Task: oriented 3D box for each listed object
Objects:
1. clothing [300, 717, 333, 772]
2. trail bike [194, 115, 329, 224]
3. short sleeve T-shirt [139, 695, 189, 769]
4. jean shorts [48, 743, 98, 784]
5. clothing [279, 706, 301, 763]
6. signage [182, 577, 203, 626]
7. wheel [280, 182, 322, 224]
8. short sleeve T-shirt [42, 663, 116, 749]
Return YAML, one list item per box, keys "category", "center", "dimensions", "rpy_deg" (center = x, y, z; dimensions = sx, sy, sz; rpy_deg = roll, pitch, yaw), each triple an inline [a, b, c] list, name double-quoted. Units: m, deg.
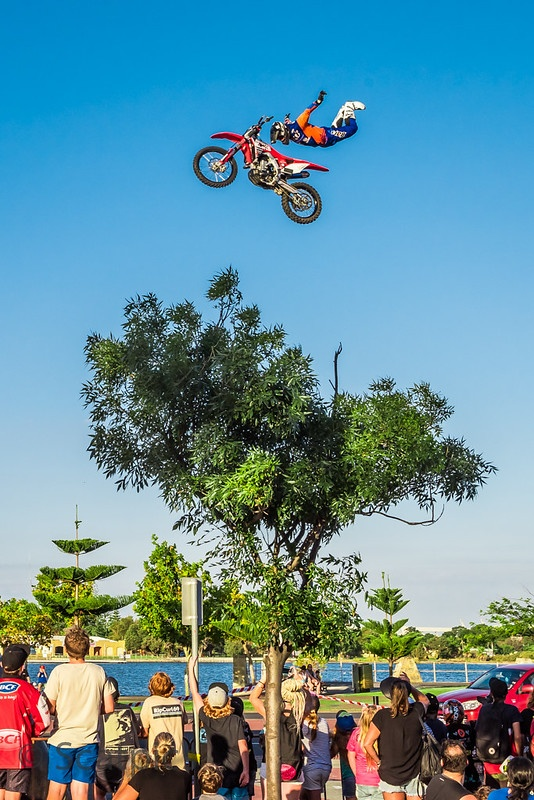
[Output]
- category: "clothing"
  center: [0.443, 3.405, 11.333]
  dimensions: [0.378, 0.516, 0.283]
  rpy_deg: [9, -25, -33]
- category: "trail bike"
  center: [-0.028, -4.473, 21.929]
  dimensions: [2.764, 1.639, 1.019]
  rpy_deg: [17, -10, -26]
- category: "short sleeve T-shirt"
  center: [-0.904, 2.999, 10.353]
  dimensions: [0.436, 0.673, 0.249]
  rpy_deg: [-4, 12, -12]
- category: "jean shorts"
  center: [-1.643, 3.132, 9.895]
  dimensions: [0.563, 0.463, 0.306]
  rpy_deg: [4, -18, -7]
- category: "clothing"
  center: [0.224, 3.145, 10.780]
  dimensions: [0.326, 0.548, 0.434]
  rpy_deg: [0, -21, -1]
- category: "signage"
  center: [-0.793, 2.149, 12.135]
  dimensions: [0.184, 0.490, 0.300]
  rpy_deg: [0, -10, -13]
- category: "wheel"
  center: [0.710, -3.752, 21.441]
  dimensions: [0.694, 0.912, 0.939]
  rpy_deg: [0, -10, -12]
- category: "short sleeve T-shirt"
  center: [-1.646, 2.732, 9.935]
  dimensions: [0.667, 0.761, 0.429]
  rpy_deg: [5, -31, -23]
